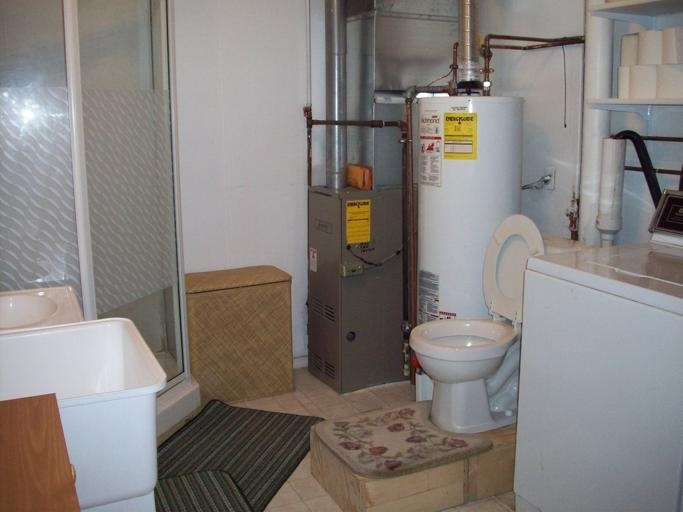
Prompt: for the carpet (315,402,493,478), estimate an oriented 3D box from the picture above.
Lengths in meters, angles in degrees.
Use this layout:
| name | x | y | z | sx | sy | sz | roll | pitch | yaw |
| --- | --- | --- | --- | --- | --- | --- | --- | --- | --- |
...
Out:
| name | x | y | z | sx | sy | sz | roll | pitch | yaw |
| --- | --- | --- | --- | --- | --- | --- | --- | --- | --- |
| carpet | 0.271 | 0.857 | 2.584 | 0.736 | 0.051 | 0.490 | -6 | 14 | -20 |
